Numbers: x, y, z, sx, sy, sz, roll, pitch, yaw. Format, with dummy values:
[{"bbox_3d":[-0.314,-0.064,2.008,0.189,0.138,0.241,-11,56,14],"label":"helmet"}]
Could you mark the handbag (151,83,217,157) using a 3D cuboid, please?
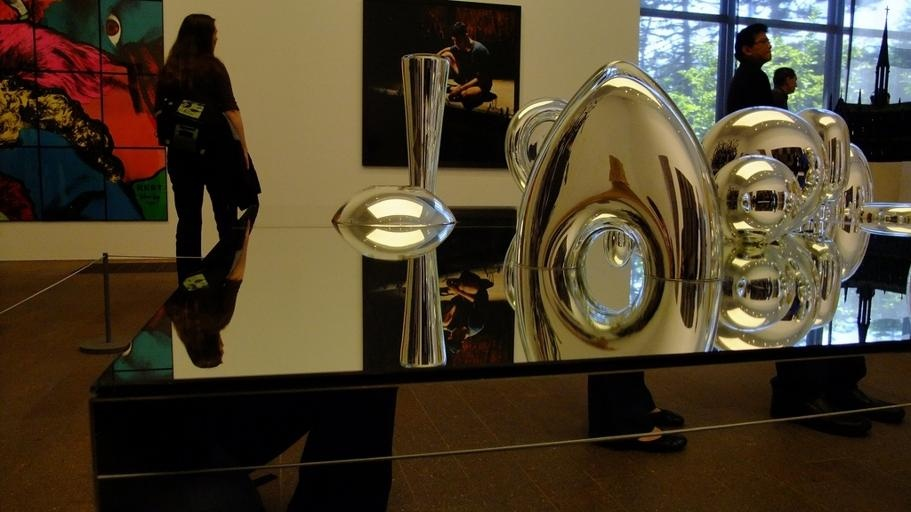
[{"bbox_3d":[-1.527,-0.699,3.905,0.330,0.137,0.429,20,-1,-32],"label":"handbag"}]
